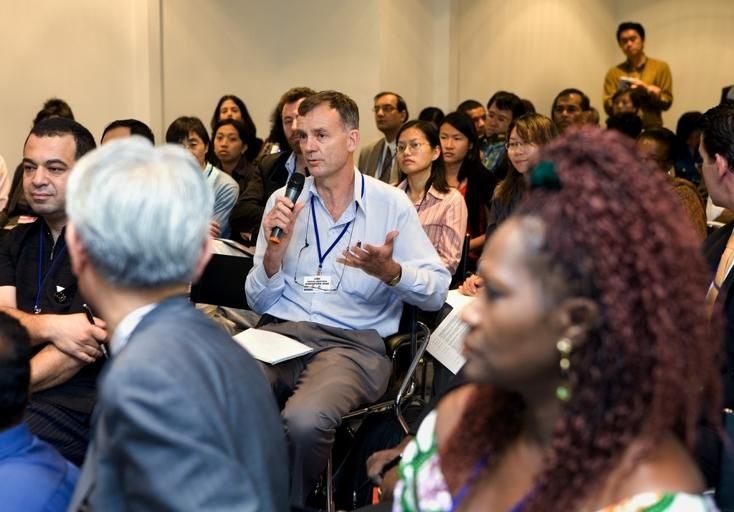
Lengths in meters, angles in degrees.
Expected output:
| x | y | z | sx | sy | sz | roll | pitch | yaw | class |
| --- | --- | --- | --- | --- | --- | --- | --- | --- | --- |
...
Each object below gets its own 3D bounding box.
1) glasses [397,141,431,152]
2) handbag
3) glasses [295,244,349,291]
| x | y | z | sx | sy | sz | roll | pitch | yaw | class |
| --- | --- | --- | --- | --- | --- | --- | --- | --- | --- |
| 0.322 | -0.820 | 4.235 | 0.109 | 0.037 | 0.115 | -1 | -5 | 35 | glasses |
| -0.751 | 0.153 | 3.125 | 0.426 | 0.353 | 0.247 | 6 | -8 | -3 | handbag |
| -0.224 | 0.068 | 2.959 | 0.208 | 0.238 | 0.066 | 1 | 2 | 10 | glasses |
